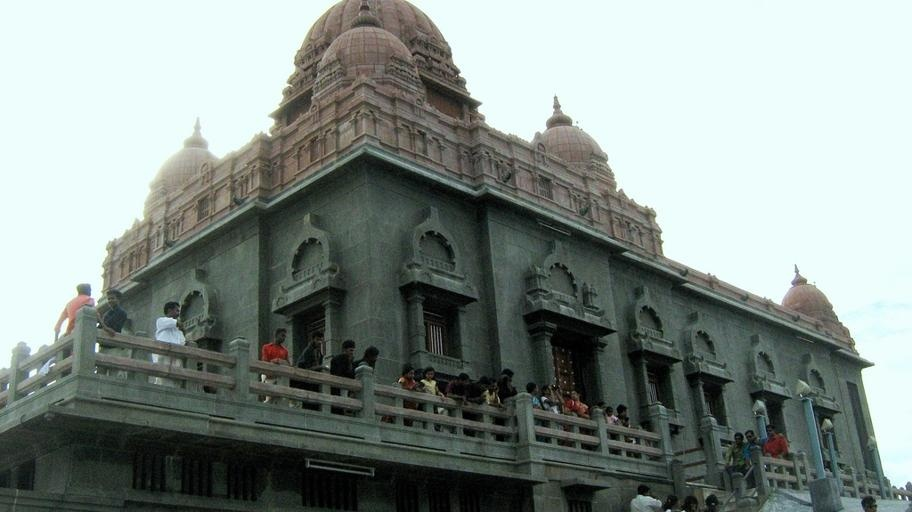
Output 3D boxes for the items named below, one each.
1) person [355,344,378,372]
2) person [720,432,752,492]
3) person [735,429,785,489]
[{"bbox_3d":[-3.147,3.600,33.535,0.679,0.492,1.394,8,-19,-10],"label":"person"},{"bbox_3d":[10.792,7.849,36.466,0.983,2.456,1.401,-2,-33,3],"label":"person"},{"bbox_3d":[12.377,7.757,37.528,1.508,2.158,1.128,19,-35,-26],"label":"person"}]
